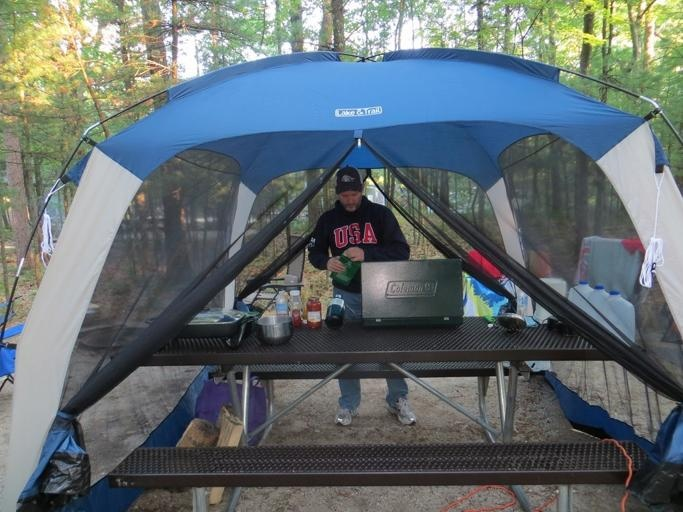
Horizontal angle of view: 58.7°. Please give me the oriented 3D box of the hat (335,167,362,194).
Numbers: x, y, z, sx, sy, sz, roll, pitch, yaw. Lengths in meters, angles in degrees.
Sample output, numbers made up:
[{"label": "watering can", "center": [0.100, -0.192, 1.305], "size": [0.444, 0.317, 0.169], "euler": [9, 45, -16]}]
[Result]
[{"label": "hat", "center": [0.039, -0.627, 5.062], "size": [0.178, 0.144, 0.252], "euler": [-2, 20, 1]}]

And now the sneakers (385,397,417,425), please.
[{"label": "sneakers", "center": [0.521, 1.376, 5.351], "size": [0.133, 0.142, 0.325], "euler": [-4, -8, -22]}]

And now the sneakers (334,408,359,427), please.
[{"label": "sneakers", "center": [0.001, 1.399, 5.269], "size": [0.100, 0.098, 0.230], "euler": [-1, -20, 12]}]

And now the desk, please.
[{"label": "desk", "center": [0.196, 0.973, 4.645], "size": [3.020, 1.068, 1.410], "euler": [1, 9, 0]}]

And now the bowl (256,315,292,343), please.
[{"label": "bowl", "center": [-0.465, 0.493, 4.112], "size": [0.190, 0.109, 0.196], "euler": [0, -5, 0]}]
